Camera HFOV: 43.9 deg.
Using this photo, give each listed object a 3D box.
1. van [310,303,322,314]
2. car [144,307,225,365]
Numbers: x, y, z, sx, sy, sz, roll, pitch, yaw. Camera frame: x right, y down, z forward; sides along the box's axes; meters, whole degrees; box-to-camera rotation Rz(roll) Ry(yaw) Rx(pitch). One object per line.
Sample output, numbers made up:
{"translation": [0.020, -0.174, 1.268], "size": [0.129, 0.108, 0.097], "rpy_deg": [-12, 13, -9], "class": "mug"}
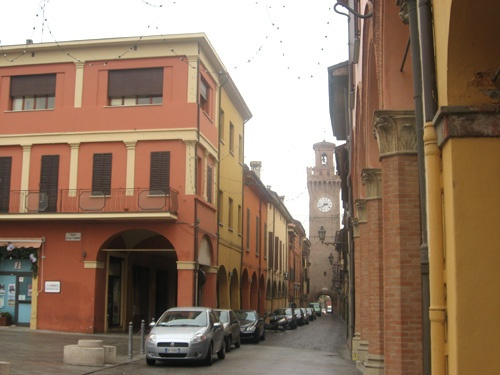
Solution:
{"translation": [7.878, 13.972, 73.002], "size": [1.467, 1.473, 2.622], "rpy_deg": [-3, -30, 6], "class": "van"}
{"translation": [-1.764, 4.000, 16.887], "size": [1.681, 1.684, 2.381], "rpy_deg": [-7, -16, 7], "class": "car"}
